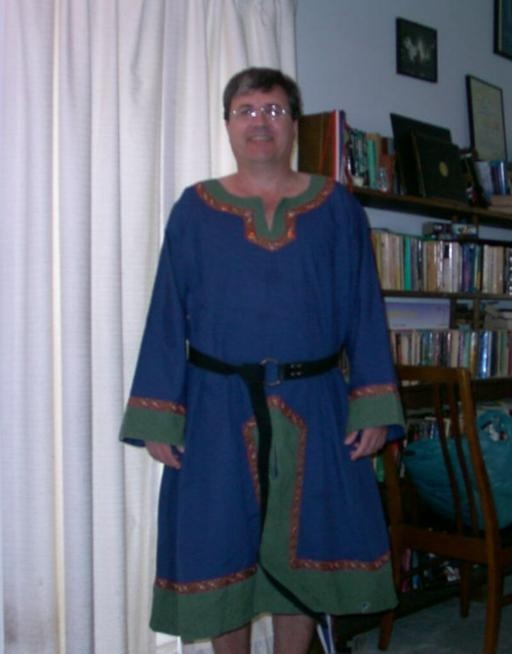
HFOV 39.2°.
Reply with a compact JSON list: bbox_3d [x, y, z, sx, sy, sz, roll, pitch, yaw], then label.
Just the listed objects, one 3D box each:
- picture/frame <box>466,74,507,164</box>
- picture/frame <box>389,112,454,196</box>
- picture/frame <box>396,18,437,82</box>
[{"bbox_3d":[1.023,-0.928,3.229,0.033,0.550,0.377,-3,3,35],"label":"picture/frame"},{"bbox_3d":[0.590,-0.661,2.675,0.063,0.321,0.278,-2,6,41],"label":"picture/frame"},{"bbox_3d":[0.645,-1.132,2.939,0.243,0.291,0.025,1,-2,-42],"label":"picture/frame"}]
